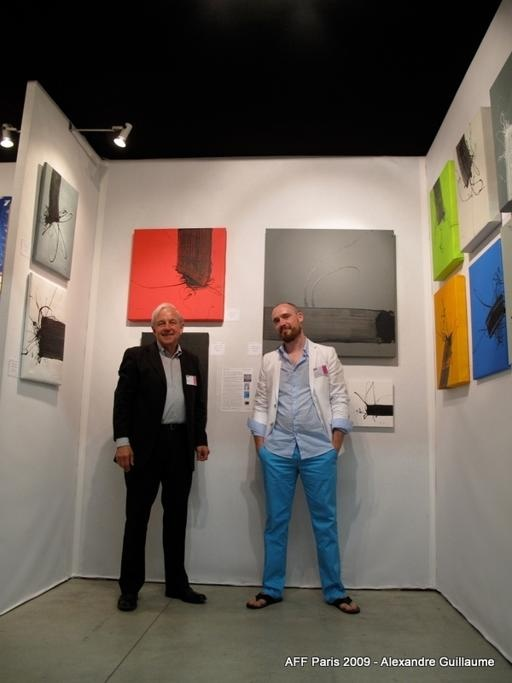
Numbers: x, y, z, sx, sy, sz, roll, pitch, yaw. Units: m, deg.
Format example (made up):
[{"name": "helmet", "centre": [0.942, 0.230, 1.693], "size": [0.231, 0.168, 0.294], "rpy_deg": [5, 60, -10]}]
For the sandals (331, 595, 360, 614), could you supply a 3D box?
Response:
[{"name": "sandals", "centre": [0.491, 1.418, 2.537], "size": [0.058, 0.067, 0.139], "rpy_deg": [4, -18, -27]}]

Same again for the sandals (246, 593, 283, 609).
[{"name": "sandals", "centre": [0.041, 1.424, 2.599], "size": [0.161, 0.066, 0.081], "rpy_deg": [18, -18, -33]}]

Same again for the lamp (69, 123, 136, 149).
[{"name": "lamp", "centre": [-1.091, -1.459, 3.280], "size": [0.232, 0.108, 0.144], "rpy_deg": [1, 30, 15]}]

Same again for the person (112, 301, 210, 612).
[{"name": "person", "centre": [-0.553, 0.619, 2.729], "size": [0.563, 1.700, 0.268], "rpy_deg": [4, -11, -19]}]

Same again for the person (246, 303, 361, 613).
[{"name": "person", "centre": [0.263, 0.627, 2.780], "size": [0.605, 1.734, 0.350], "rpy_deg": [1, -10, 0]}]

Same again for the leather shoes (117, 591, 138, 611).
[{"name": "leather shoes", "centre": [-0.688, 1.395, 2.492], "size": [0.106, 0.065, 0.149], "rpy_deg": [4, -14, -16]}]
